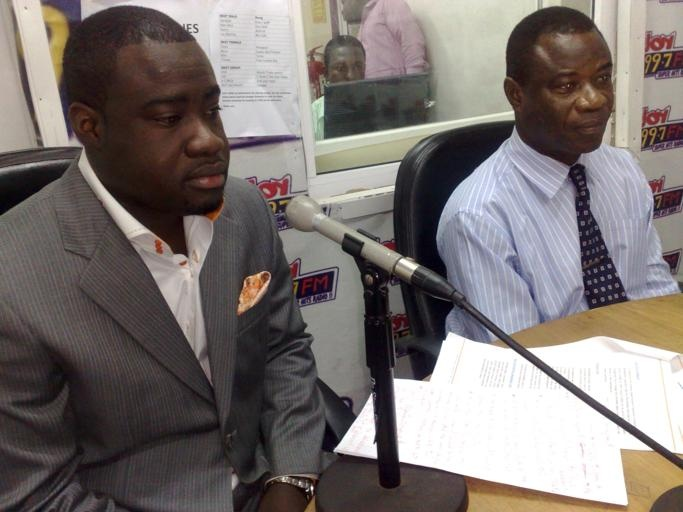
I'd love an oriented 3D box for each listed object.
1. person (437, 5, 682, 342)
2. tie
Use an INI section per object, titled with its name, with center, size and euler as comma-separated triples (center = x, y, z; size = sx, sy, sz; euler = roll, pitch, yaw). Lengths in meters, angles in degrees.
[person]
center = 0.699, -0.279, 1.691
size = 0.827, 0.938, 0.556
euler = -6, 21, -2
[tie]
center = 0.788, -0.043, 1.695
size = 0.119, 0.489, 0.052
euler = -9, -15, 5
